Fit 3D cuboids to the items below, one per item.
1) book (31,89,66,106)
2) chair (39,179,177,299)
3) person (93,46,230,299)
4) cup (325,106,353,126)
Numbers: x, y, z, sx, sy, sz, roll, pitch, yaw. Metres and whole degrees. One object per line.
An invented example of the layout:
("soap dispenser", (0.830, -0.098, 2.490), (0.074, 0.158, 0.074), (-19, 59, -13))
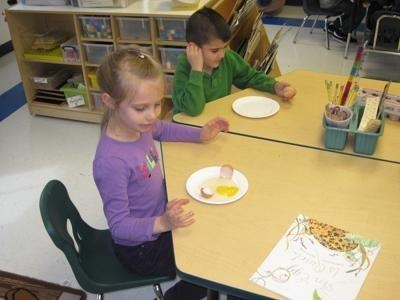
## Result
("book", (-1.570, -0.554, 3.293), (0.208, 0.061, 0.223), (9, 18, 15))
("chair", (-0.408, 0.429, 1.406), (0.444, 0.598, 0.327), (-11, 54, -6))
("person", (-0.175, 0.117, 1.366), (0.490, 1.019, 0.616), (-1, 31, 3))
("cup", (0.669, -0.167, 1.481), (0.093, 0.071, 0.102), (-24, 16, 8))
